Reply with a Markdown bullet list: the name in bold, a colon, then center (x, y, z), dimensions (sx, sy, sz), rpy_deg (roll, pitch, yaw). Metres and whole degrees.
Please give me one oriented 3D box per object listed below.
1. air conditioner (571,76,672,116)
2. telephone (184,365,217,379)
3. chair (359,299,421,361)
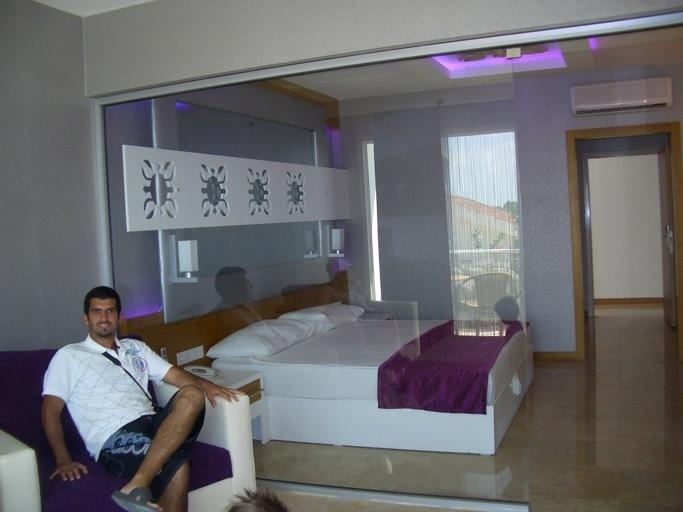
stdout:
- **air conditioner**: center (1.409, -0.800, 2.590), dimensions (0.446, 0.167, 0.100), rpy_deg (0, -2, 19)
- **telephone**: center (-0.847, 0.709, 3.111), dimensions (0.142, 0.029, 0.097), rpy_deg (6, 9, 6)
- **chair**: center (0.307, 0.408, 2.918), dimensions (0.359, 0.339, 0.191), rpy_deg (3, -17, -9)
